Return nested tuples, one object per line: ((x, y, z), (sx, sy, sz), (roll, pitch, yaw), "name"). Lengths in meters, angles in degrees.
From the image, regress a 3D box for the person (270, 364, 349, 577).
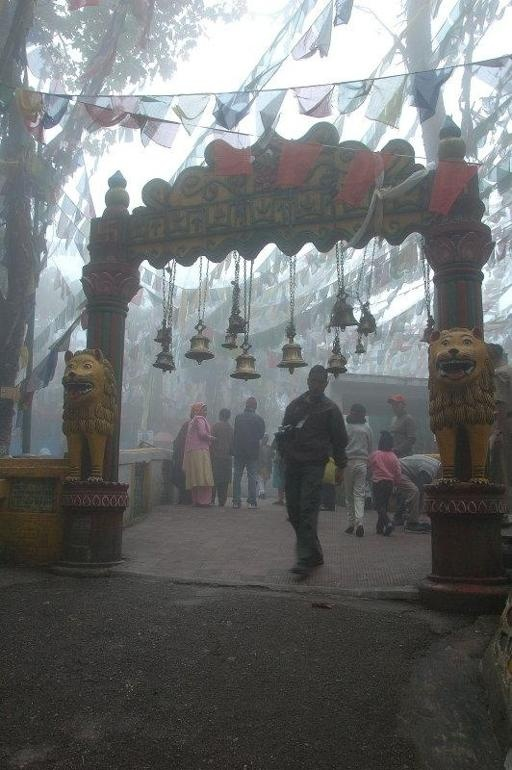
((0.455, 0.789, 5.119), (0.627, 1.535, 0.767), (-1, -5, 15), "person")

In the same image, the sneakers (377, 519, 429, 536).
((1.910, 1.847, 7.623), (0.603, 0.329, 0.231), (-4, -6, 3), "sneakers")

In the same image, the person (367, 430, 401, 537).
((1.650, 1.236, 7.606), (0.418, 1.296, 0.821), (-1, -5, 16), "person")

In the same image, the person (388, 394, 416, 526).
((2.344, 1.221, 9.697), (0.522, 2.280, 0.613), (-5, 7, -25), "person")

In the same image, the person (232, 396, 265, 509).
((-0.177, 1.298, 11.349), (0.574, 2.082, 0.784), (0, -5, -3), "person")

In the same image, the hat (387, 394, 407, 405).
((2.764, 0.271, 11.433), (0.280, 0.185, 0.199), (22, -18, -30), "hat")

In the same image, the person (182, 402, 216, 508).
((-1.125, 1.295, 11.135), (0.553, 1.946, 0.842), (1, -5, -6), "person")

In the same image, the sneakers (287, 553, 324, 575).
((0.433, 1.463, 4.837), (0.138, 0.138, 0.479), (-3, -7, 31), "sneakers")

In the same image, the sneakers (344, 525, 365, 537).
((1.229, 1.790, 7.226), (0.099, 0.148, 0.338), (0, -17, -3), "sneakers")

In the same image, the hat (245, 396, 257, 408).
((-0.108, 0.297, 11.201), (0.173, 0.246, 0.202), (1, -9, -1), "hat")
